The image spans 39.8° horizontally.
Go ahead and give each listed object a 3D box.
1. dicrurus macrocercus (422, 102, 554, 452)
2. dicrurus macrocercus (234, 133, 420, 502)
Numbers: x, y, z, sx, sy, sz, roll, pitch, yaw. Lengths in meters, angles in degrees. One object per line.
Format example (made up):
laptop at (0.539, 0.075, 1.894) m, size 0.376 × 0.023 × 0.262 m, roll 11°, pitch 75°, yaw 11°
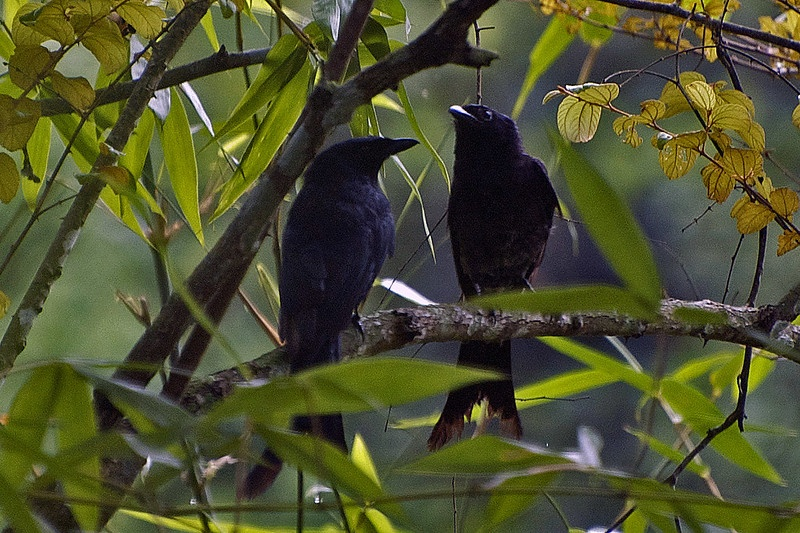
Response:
dicrurus macrocercus at (0.298, 0.089, 3.658) m, size 0.349 × 1.182 × 0.478 m, roll 1°, pitch 23°, yaw -2°
dicrurus macrocercus at (-0.227, 0.011, 3.240) m, size 0.332 × 0.726 × 1.114 m, roll -5°, pitch 13°, yaw 15°
